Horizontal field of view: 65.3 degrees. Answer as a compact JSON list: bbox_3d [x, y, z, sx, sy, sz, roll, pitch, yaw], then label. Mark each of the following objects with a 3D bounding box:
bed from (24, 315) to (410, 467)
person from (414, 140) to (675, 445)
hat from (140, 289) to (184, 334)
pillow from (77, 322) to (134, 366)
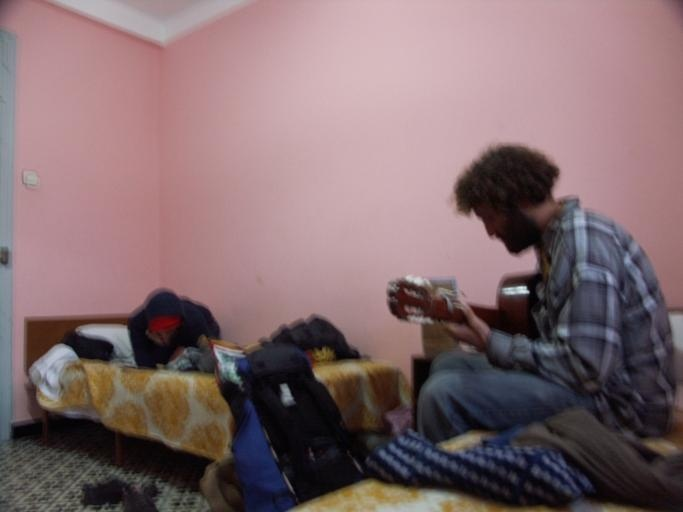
[{"bbox_3d":[-0.634,0.632,2.455,1.180,0.519,0.808,-7,-7,39],"label":"bed"},{"bbox_3d":[0.761,0.155,2.479,0.969,1.696,0.812,-2,-4,18],"label":"person"},{"bbox_3d":[-0.963,0.290,2.867,0.162,0.235,0.219,-1,14,-25],"label":"hat"},{"bbox_3d":[-1.223,0.460,2.847,0.200,0.304,0.111,5,-43,-21],"label":"pillow"}]
